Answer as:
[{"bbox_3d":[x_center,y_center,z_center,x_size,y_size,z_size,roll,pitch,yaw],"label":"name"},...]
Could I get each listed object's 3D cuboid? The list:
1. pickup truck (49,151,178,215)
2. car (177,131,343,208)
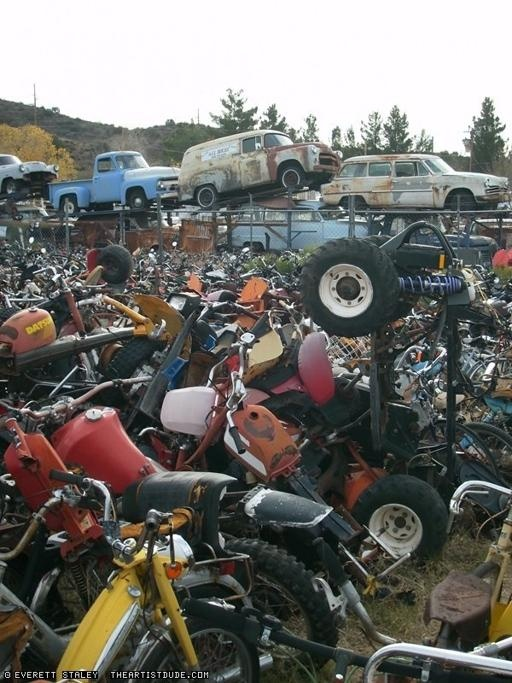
[{"bbox_3d":[-4.603,-5.139,18.498,4.882,1.982,1.449,6,15,33],"label":"pickup truck"},{"bbox_3d":[-0.117,-4.845,16.199,4.609,1.994,0.832,6,16,34],"label":"car"}]
